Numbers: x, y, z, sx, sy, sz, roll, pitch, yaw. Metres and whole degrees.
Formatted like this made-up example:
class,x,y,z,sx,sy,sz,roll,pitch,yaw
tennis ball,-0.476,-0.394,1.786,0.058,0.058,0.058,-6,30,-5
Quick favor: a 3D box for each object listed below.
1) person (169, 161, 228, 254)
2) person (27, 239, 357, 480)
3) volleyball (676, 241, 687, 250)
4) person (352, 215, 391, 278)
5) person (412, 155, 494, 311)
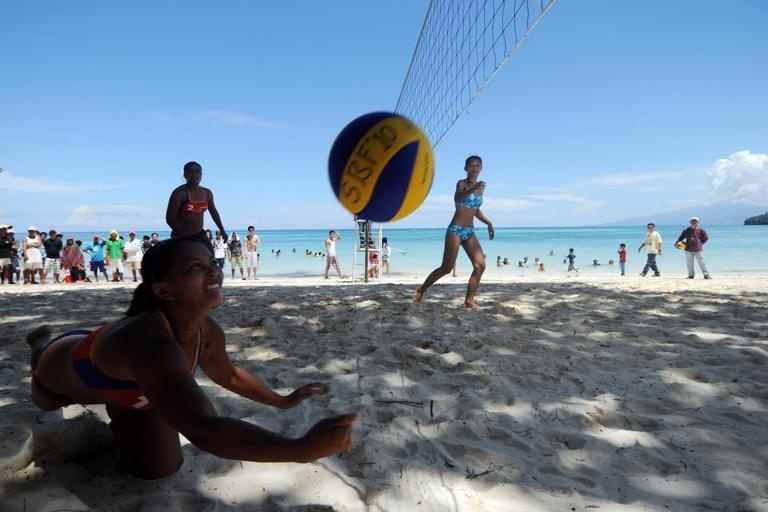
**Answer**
class,x,y,z,sx,sy,sz,roll,pitch,yaw
person,-1.582,-0.147,4.459,0.479,1.305,0.449,-2,16,-31
person,-0.875,0.470,2.334,1.679,1.122,0.600,8,16,29
volleyball,5.893,-0.234,10.289,0.182,0.151,0.251,28,26,23
person,-0.211,-0.141,9.950,0.827,1.755,0.700,1,-3,-11
person,0.738,-0.279,5.151,0.766,1.645,0.824,3,-1,-1
